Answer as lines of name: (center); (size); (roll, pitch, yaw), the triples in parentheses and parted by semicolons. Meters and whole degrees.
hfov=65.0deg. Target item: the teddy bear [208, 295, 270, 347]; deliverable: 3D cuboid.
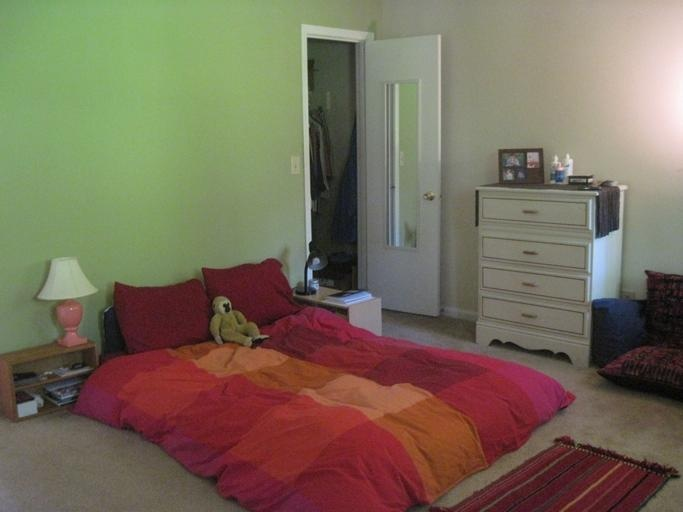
teddy bear: (-0.717, 0.448, 3.630); (0.414, 0.288, 0.297); (8, 16, 33)

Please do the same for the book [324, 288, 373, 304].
book: (0.055, 0.304, 4.169); (0.302, 0.063, 0.304); (7, 15, 32)

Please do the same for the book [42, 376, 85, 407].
book: (-1.745, 0.825, 3.344); (0.176, 0.050, 0.180); (-5, 13, -29)

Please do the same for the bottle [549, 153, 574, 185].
bottle: (1.727, -0.692, 4.201); (0.162, 0.222, 0.239); (4, 14, 23)

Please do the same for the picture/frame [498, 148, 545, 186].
picture/frame: (1.428, -0.707, 4.254); (0.303, 0.285, 0.041); (0, 0, 23)
